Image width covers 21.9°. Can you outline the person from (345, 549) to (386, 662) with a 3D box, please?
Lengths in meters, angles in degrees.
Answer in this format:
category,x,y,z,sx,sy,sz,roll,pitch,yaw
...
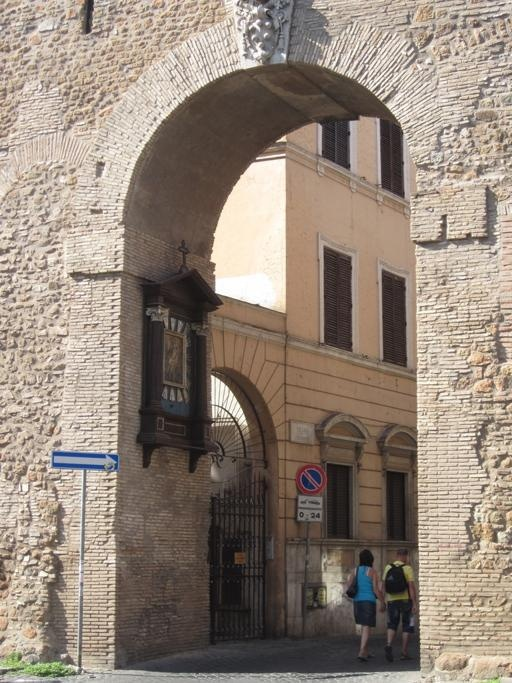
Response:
category,x,y,z,sx,sy,sz,roll,pitch,yaw
person,1.377,3.312,16.569,0.444,1.373,1.068,-3,-12,4

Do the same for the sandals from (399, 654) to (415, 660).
category,x,y,z,sx,sy,sz,roll,pitch,yaw
sandals,1.931,3.968,16.547,0.222,0.092,0.081,5,-6,-29

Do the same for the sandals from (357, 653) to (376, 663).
category,x,y,z,sx,sy,sz,roll,pitch,yaw
sandals,1.381,3.939,16.347,0.087,0.111,0.287,4,3,31

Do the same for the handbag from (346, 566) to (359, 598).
category,x,y,z,sx,sy,sz,roll,pitch,yaw
handbag,1.203,3.003,16.334,0.162,0.376,0.280,-3,-12,4

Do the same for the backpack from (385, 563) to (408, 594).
category,x,y,z,sx,sy,sz,roll,pitch,yaw
backpack,1.719,2.956,16.358,0.308,0.382,0.276,-7,-13,21
